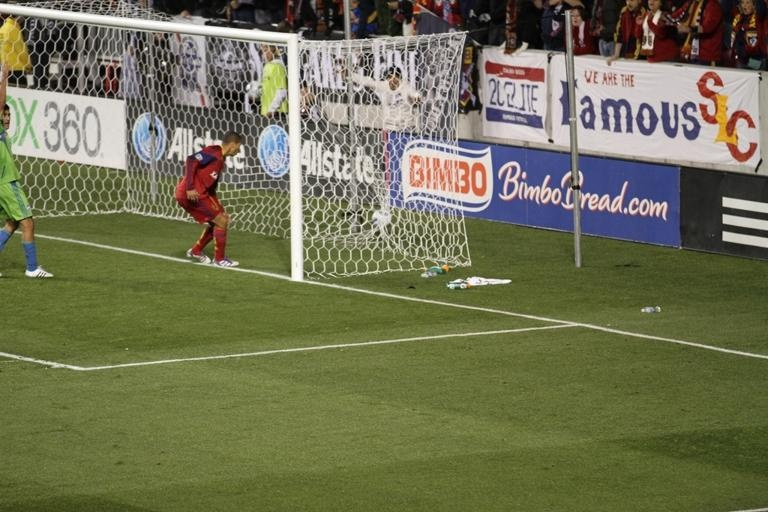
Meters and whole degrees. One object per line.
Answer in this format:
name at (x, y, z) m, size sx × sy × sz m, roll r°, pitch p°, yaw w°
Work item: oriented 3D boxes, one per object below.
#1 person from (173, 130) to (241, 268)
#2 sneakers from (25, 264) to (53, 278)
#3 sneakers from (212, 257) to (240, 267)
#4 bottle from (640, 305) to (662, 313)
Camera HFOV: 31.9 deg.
person at (-2.261, -0.748, 17.307) m, size 0.837 × 1.705 × 0.731 m, roll 3°, pitch 7°, yaw -8°
sneakers at (-4.210, 0.197, 16.453) m, size 0.389 × 0.144 × 0.128 m, roll -1°, pitch 11°, yaw -7°
sneakers at (-2.016, 0.075, 17.226) m, size 0.374 × 0.131 × 0.114 m, roll -2°, pitch 9°, yaw -4°
bottle at (3.087, 0.614, 15.558) m, size 0.166 × 0.064 × 0.110 m, roll -5°, pitch -5°, yaw 43°
